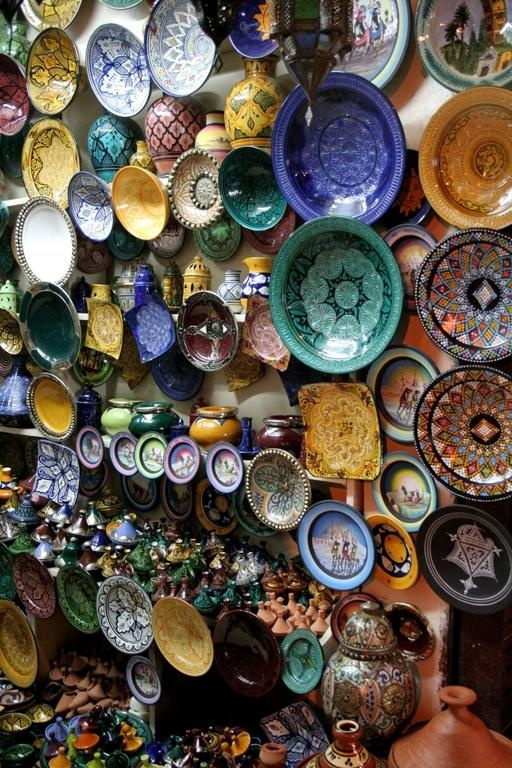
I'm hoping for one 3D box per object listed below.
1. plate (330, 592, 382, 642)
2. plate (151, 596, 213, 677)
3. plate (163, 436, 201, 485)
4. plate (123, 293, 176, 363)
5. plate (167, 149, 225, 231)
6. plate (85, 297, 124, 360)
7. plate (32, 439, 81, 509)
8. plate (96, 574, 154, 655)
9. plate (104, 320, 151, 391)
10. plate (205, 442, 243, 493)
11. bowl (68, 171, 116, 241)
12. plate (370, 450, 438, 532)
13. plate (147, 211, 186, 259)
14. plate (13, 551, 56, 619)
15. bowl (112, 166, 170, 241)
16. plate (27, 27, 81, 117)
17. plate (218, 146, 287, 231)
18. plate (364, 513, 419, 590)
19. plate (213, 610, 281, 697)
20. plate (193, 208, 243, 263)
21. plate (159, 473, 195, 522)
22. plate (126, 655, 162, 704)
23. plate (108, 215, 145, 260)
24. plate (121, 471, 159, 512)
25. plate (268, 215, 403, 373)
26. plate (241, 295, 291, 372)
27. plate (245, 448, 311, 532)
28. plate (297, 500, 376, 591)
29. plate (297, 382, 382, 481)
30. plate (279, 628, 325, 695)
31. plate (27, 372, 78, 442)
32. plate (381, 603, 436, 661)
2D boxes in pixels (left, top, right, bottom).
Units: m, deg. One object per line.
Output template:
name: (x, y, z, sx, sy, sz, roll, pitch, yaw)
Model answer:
plate: (0.222, 0.547, 1.515, 0.066, 0.093, 0.145, 31, -46, -31)
plate: (-0.173, 0.672, 1.726, 0.218, 0.219, 0.038, 26, 29, 38)
plate: (-0.212, 0.213, 1.823, 0.072, 0.118, 0.150, 23, -42, -23)
plate: (-0.317, -0.172, 1.959, 0.070, 0.205, 0.160, -1, -30, -44)
plate: (-0.173, -0.560, 1.832, 0.202, 0.204, 0.061, 24, 28, 37)
plate: (-0.496, -0.191, 2.103, 0.171, 0.170, 0.044, 13, 13, 33)
plate: (-0.691, 0.308, 2.265, 0.218, 0.218, 0.062, 0, 4, 43)
plate: (-0.376, 0.661, 1.829, 0.234, 0.225, 0.039, 24, 27, 31)
plate: (-0.430, -0.107, 2.166, 0.186, 0.051, 0.262, 14, -55, 25)
plate: (-0.084, 0.228, 1.726, 0.081, 0.126, 0.138, 23, -42, -23)
bowl: (-0.533, -0.585, 2.112, 0.059, 0.210, 0.217, -25, -43, -44)
plate: (0.337, 0.235, 1.442, 0.038, 0.155, 0.157, -10, -1, -40)
plate: (-0.290, -0.475, 2.053, 0.118, 0.024, 0.116, 2, -70, 29)
plate: (-0.716, 0.661, 2.081, 0.037, 0.220, 0.212, -16, -34, -44)
bowl: (-0.369, -0.546, 1.946, 0.164, 0.181, 0.165, 2, -38, 2)
plate: (-0.698, -1.062, 2.209, 0.071, 0.247, 0.261, -10, -27, -49)
plate: (0.001, -0.526, 1.726, 0.197, 0.199, 0.078, -4, 13, 29)
plate: (0.312, 0.382, 1.479, 0.040, 0.152, 0.154, -14, -50, -43)
plate: (-0.012, 0.663, 1.603, 0.226, 0.228, 0.040, 10, 13, 37)
plate: (-0.110, -0.447, 1.939, 0.134, 0.132, 0.032, 17, 26, 30)
plate: (-0.261, 0.383, 2.111, 0.032, 0.131, 0.130, -3, -44, -41)
plate: (-0.310, 0.828, 1.793, 0.154, 0.163, 0.023, -1, 3, 44)
plate: (-0.452, -0.513, 2.270, 0.133, 0.131, 0.032, -15, 6, 21)
plate: (-0.394, 0.367, 2.198, 0.186, 0.184, 0.020, 7, 10, 43)
plate: (0.193, -0.214, 1.511, 0.323, 0.326, 0.090, -10, 2, 38)
plate: (0.024, -0.129, 1.692, 0.169, 0.173, 0.046, -9, -5, 43)
plate: (0.065, 0.252, 1.638, 0.197, 0.201, 0.050, -7, 1, 41)
plate: (0.195, 0.377, 1.520, 0.021, 0.185, 0.179, -5, -25, -47)
plate: (0.196, 0.115, 1.490, 0.196, 0.224, 0.070, 4, 8, 37)
plate: (0.111, 0.663, 1.522, 0.036, 0.148, 0.150, -2, -9, -45)
plate: (-0.703, 0.081, 2.211, 0.217, 0.213, 0.024, 17, 15, 35)
plate: (0.348, 0.553, 1.443, 0.109, 0.109, 0.027, -17, 7, 44)
